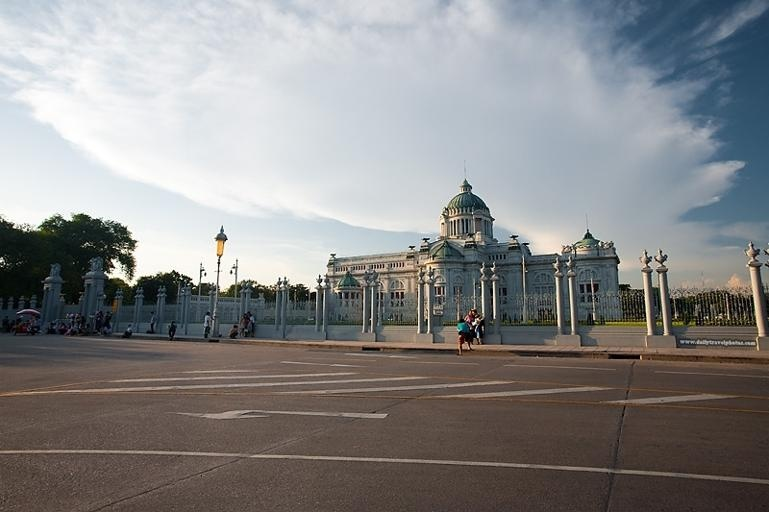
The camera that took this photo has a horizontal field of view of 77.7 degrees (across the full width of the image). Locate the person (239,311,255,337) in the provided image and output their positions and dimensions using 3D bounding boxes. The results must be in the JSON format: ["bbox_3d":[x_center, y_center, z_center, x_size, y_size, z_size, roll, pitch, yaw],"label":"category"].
[{"bbox_3d":[-10.242,5.115,36.043,1.075,1.926,1.466,0,-9,4],"label":"person"}]

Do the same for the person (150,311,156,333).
[{"bbox_3d":[-20.274,5.836,41.802,0.374,1.645,1.162,5,-10,-26],"label":"person"}]
